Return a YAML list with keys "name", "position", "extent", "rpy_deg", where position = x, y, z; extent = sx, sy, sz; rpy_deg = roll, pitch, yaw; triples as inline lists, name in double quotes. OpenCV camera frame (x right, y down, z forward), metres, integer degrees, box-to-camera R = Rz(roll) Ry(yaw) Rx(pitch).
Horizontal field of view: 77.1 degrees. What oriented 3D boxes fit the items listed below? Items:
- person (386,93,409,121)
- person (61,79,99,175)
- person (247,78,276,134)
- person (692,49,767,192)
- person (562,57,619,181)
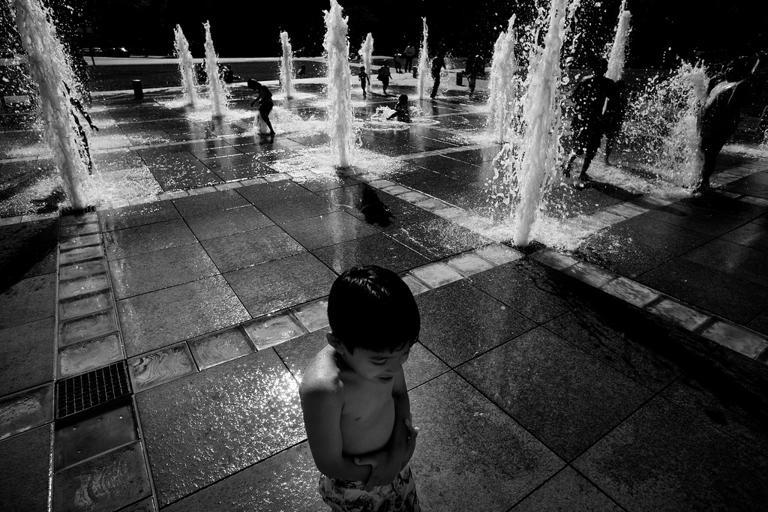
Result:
- name: "person"
  position: [0.480, -4.955, 16.000]
  extent: [0.760, 0.876, 0.834]
  rpy_deg: [-2, 29, -3]
- name: "person"
  position: [-6.423, -3.068, 10.191]
  extent: [0.671, 0.303, 2.090]
  rpy_deg: [-6, 49, -29]
- name: "person"
  position: [-3.526, -4.362, 14.042]
  extent: [0.602, 1.524, 2.118]
  rpy_deg: [-7, 31, -12]
- name: "person"
  position: [6.652, -2.555, 9.691]
  extent: [0.722, 2.339, 1.082]
  rpy_deg: [20, 35, 33]
- name: "person"
  position: [4.292, -2.792, 10.099]
  extent: [0.893, 2.408, 1.455]
  rpy_deg: [15, 33, 26]
